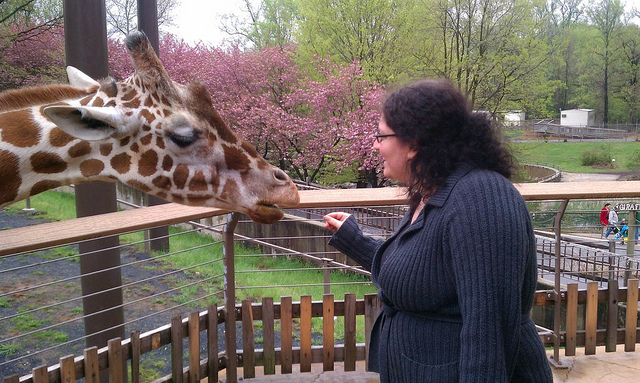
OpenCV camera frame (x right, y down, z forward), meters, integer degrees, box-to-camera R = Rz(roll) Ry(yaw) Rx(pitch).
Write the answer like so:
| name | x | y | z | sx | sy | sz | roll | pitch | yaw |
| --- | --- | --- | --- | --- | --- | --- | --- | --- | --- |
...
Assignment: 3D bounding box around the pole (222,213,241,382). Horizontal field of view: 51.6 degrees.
| name | x | y | z | sx | sy | sz | roll | pitch | yaw |
| --- | --- | --- | --- | --- | --- | --- | --- | --- | --- |
| pole | -1.263 | 1.497 | 9.592 | 0.296 | 2.458 | 0.358 | -3 | 8 | -9 |
